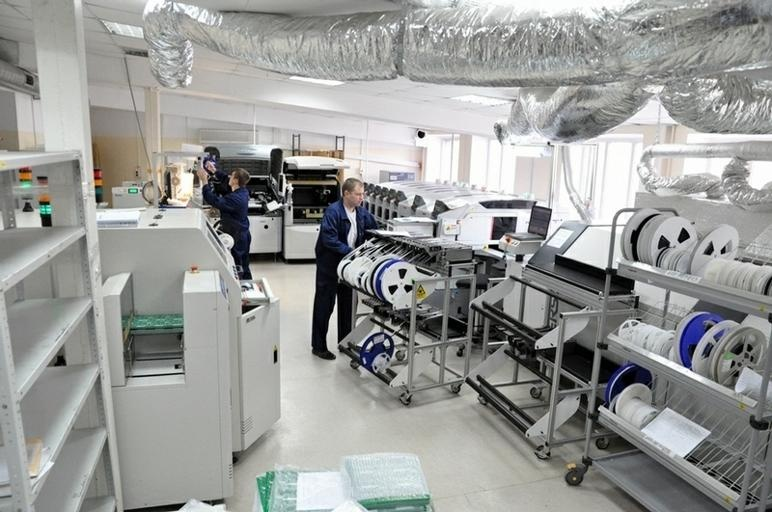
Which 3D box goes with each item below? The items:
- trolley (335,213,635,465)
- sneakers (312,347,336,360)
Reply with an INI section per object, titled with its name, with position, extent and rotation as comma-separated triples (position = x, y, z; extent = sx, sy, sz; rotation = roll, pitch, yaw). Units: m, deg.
[trolley]
position = 0.815, 0.693, 4.435
extent = 1.819, 1.831, 2.849
rotation = -2, 11, -27
[sneakers]
position = -0.648, 1.003, 5.147
extent = 0.228, 0.092, 0.104
rotation = 6, 9, 18
